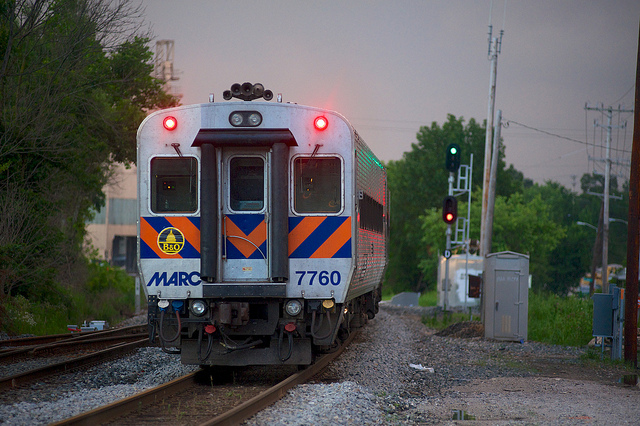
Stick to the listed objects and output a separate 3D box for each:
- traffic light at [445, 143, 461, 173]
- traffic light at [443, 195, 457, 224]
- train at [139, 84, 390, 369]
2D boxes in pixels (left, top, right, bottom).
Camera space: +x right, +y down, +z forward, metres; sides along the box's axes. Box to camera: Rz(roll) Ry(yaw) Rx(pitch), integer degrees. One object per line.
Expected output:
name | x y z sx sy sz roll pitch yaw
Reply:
traffic light | 4.764 -1.794 24.204 0.603 1.085 0.647 5 -15 -1
traffic light | 4.511 -0.090 24.026 0.434 0.940 0.581 1 1 10
train | -1.589 0.468 15.242 4.561 5.791 0.808 1 1 4
